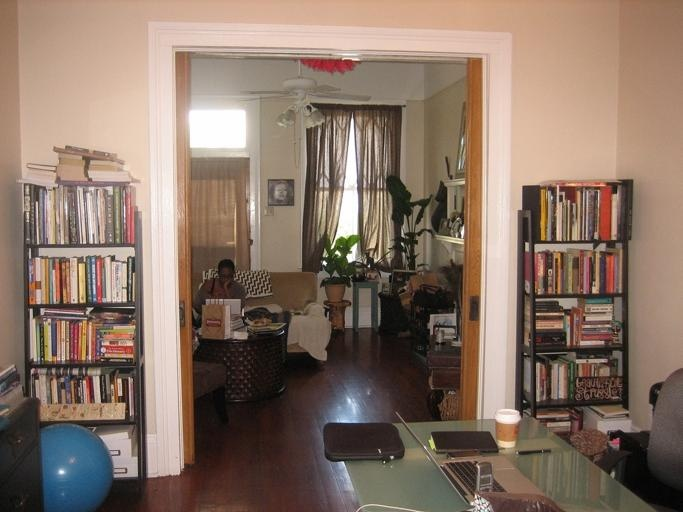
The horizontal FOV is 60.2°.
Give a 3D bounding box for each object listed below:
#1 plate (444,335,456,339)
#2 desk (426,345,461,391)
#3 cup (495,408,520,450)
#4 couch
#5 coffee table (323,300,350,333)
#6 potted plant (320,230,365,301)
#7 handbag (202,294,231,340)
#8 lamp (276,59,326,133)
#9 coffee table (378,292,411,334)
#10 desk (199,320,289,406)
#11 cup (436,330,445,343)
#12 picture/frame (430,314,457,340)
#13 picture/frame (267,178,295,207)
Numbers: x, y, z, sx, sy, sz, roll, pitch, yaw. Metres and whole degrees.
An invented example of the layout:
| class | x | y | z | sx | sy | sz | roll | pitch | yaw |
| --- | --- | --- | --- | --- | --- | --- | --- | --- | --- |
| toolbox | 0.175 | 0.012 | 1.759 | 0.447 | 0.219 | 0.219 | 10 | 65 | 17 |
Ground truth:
| class | x | y | z | sx | sy | sz | roll | pitch | yaw |
| --- | --- | --- | --- | --- | --- | --- | --- | --- | --- |
| plate | 0.923 | 0.692 | 5.027 | 0.095 | 0.034 | 0.044 | 0 | 6 | 3 |
| desk | 0.812 | 0.881 | 4.823 | 0.270 | 0.321 | 0.468 | -1 | 0 | 1 |
| cup | 0.792 | 0.831 | 2.834 | 0.135 | 0.151 | 0.138 | 2 | -5 | 0 |
| couch | -0.642 | 0.724 | 7.278 | 0.917 | 1.005 | 1.118 | 4 | 3 | -25 |
| coffee table | -0.058 | 0.875 | 8.563 | 0.420 | 0.448 | 0.410 | -1 | 4 | -5 |
| potted plant | -0.030 | 0.170 | 8.670 | 0.568 | 0.948 | 0.665 | -2 | 6 | -16 |
| handbag | -1.161 | 0.603 | 5.466 | 0.227 | 0.320 | 0.113 | 1 | -1 | 14 |
| lamp | -0.456 | -1.837 | 6.484 | 0.414 | 0.832 | 0.439 | -7 | -6 | 35 |
| coffee table | 0.829 | 0.815 | 8.715 | 0.540 | 0.594 | 0.544 | -10 | 13 | -43 |
| desk | -0.992 | 1.067 | 5.997 | 0.986 | 0.622 | 1.004 | 7 | -6 | -31 |
| cup | 0.835 | 0.677 | 4.990 | 0.062 | 0.116 | 0.067 | 0 | 6 | 0 |
| picture/frame | 0.892 | 0.617 | 5.161 | 0.200 | 0.198 | 0.079 | 0 | 5 | 2 |
| picture/frame | -0.909 | -0.950 | 8.719 | 0.396 | 0.400 | 0.032 | -1 | 5 | -5 |
